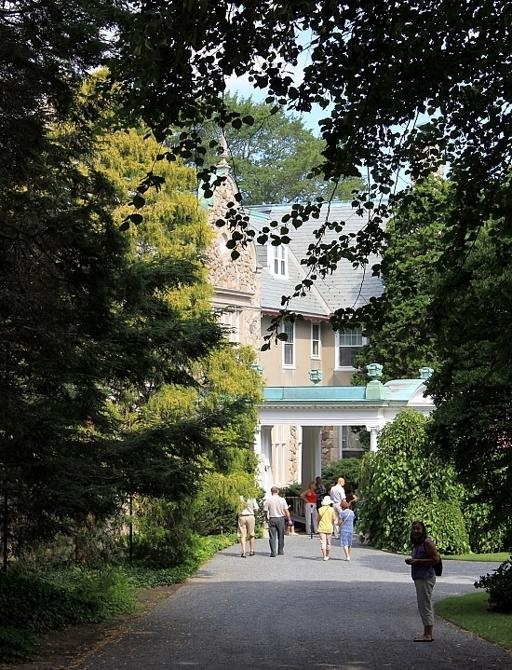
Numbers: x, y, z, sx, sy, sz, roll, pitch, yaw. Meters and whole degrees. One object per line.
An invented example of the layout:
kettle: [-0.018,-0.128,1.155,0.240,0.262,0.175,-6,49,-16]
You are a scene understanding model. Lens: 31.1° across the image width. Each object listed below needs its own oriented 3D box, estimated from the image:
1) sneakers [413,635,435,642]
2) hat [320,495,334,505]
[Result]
sneakers: [2.073,3.783,11.358,0.225,0.066,0.198,-5,-13,11]
hat: [1.811,4.289,23.345,0.372,0.266,0.526,1,5,4]
